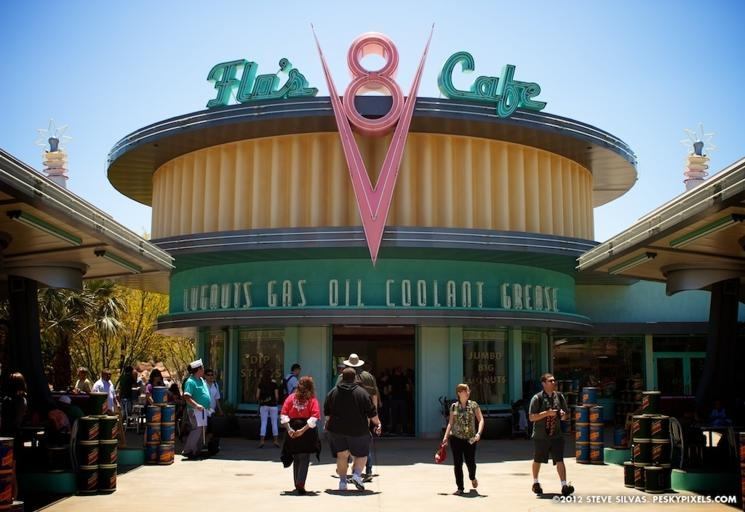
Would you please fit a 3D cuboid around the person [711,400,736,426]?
[{"bbox_3d":[8.587,3.891,16.944,0.472,0.617,1.015,-6,-14,26],"label":"person"}]

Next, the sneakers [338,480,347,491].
[{"bbox_3d":[-0.667,5.023,14.978,0.151,0.179,0.450,0,-15,-1],"label":"sneakers"}]

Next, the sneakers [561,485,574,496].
[{"bbox_3d":[4.044,4.853,14.238,0.379,0.235,0.194,12,-17,-41],"label":"sneakers"}]

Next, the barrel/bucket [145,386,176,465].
[{"bbox_3d":[-5.662,4.484,18.174,0.777,1.993,0.848,1,-13,0],"label":"barrel/bucket"}]

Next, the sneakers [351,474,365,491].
[{"bbox_3d":[-0.335,4.974,14.963,0.170,0.467,0.198,-9,23,36],"label":"sneakers"}]

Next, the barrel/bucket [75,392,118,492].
[{"bbox_3d":[-6.088,4.104,15.133,0.953,2.112,0.764,4,-13,-13],"label":"barrel/bucket"}]
